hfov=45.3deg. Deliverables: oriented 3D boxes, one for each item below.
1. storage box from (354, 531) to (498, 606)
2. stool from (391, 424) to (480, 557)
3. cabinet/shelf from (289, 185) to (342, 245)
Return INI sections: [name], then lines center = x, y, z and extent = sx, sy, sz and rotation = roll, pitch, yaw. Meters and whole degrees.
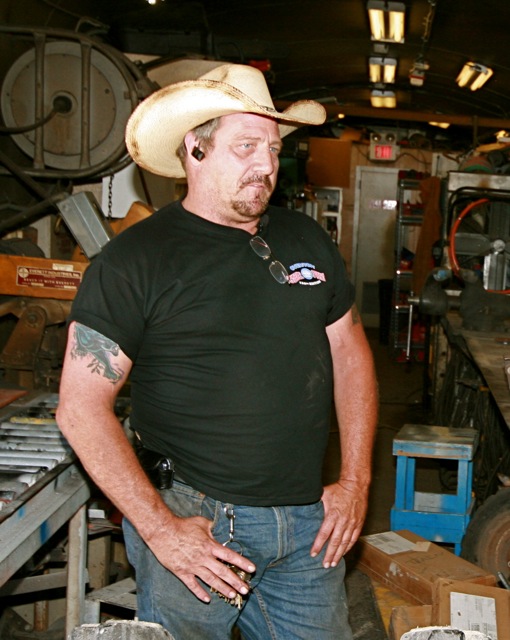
[storage box]
center = 0.733, 1.133, 2.781
extent = 0.327, 0.123, 0.626
rotation = 1, -2, -19
[stool]
center = 1.019, 0.928, 3.523
extent = 0.585, 0.634, 0.569
rotation = 5, 11, 18
[cabinet/shelf]
center = 1.016, -1.740, 10.346
extent = 0.933, 1.077, 0.877
rotation = 9, 24, 25
